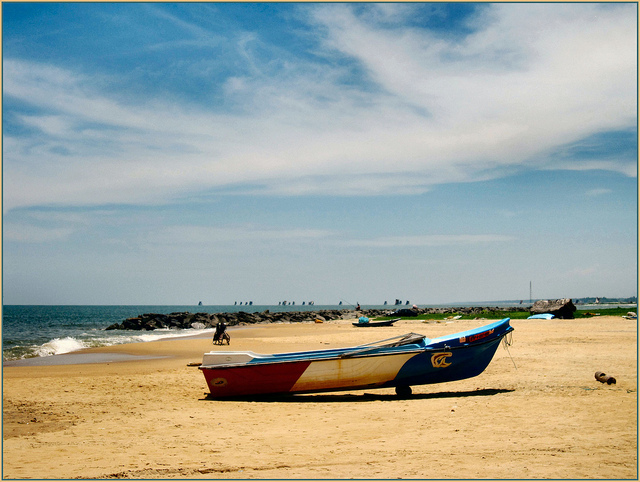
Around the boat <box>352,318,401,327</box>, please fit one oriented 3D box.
[{"bbox_3d":[5.001,6.755,60.222,4.620,0.553,0.896,-1,-2,-8],"label":"boat"}]
